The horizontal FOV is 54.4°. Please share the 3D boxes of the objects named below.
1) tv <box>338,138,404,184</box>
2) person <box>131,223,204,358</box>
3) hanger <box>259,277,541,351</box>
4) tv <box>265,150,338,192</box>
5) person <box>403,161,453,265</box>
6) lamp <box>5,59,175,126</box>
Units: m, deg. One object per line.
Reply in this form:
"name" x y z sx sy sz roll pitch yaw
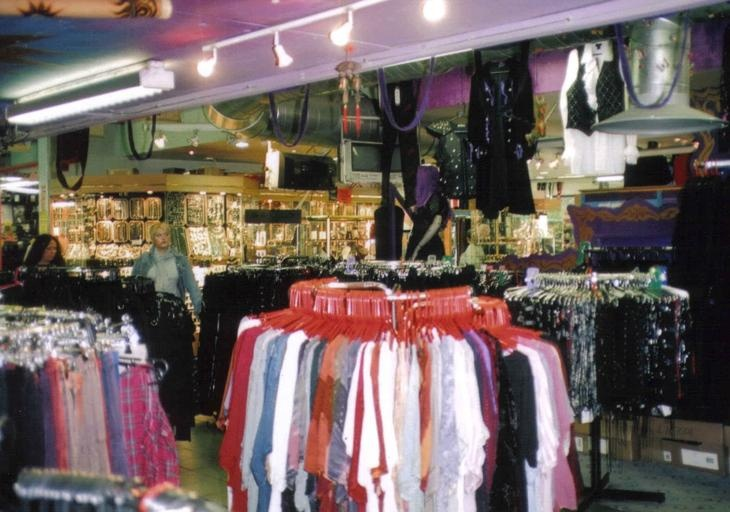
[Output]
"tv" 0.113 -1.047 8.051 0.685 0.469 0.458 1 2 4
"person" -1.936 0.120 6.922 0.652 0.891 0.525 1 2 -13
"hanger" 0.168 0.329 4.113 1.546 0.333 0.522 1 2 -4
"tv" -0.845 -1.167 10.172 0.955 0.576 0.690 2 0 -18
"person" 0.602 -0.432 6.856 0.411 0.931 0.550 1 2 5
"lamp" -2.309 -1.350 5.943 1.783 0.344 0.344 3 2 34
